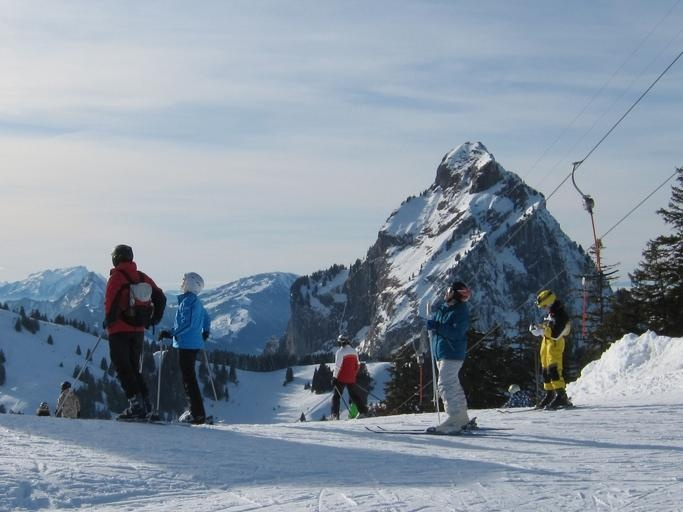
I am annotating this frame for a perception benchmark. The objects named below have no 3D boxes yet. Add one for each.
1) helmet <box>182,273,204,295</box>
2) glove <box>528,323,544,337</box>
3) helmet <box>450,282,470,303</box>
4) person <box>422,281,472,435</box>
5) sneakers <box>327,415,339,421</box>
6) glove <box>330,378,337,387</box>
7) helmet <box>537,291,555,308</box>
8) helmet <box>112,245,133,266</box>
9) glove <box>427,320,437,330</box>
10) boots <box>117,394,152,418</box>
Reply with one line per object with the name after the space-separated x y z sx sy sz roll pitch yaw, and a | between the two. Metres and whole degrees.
-3.846 0.746 30.583 0.346 0.457 0.411 32 -66 -24 | helmet
5.661 2.184 34.664 0.276 0.213 0.395 2 1 -11 | glove
3.180 0.982 31.963 0.414 0.558 0.491 17 -37 -27 | helmet
2.968 2.727 32.288 1.173 4.028 1.101 -3 -3 6 | person
-0.192 5.090 37.474 0.351 0.113 0.281 -3 -4 43 | sneakers
-0.225 4.004 37.968 0.163 0.231 0.163 -4 -3 21 | glove
5.926 1.273 34.544 0.555 0.555 0.420 4 -1 8 | helmet
-5.440 0.053 29.554 0.447 0.591 0.564 -1 14 -26 | helmet
2.448 1.874 32.067 0.218 0.239 0.243 -7 -9 36 | glove
-5.674 4.082 32.182 1.122 0.815 0.394 6 -5 3 | boots
